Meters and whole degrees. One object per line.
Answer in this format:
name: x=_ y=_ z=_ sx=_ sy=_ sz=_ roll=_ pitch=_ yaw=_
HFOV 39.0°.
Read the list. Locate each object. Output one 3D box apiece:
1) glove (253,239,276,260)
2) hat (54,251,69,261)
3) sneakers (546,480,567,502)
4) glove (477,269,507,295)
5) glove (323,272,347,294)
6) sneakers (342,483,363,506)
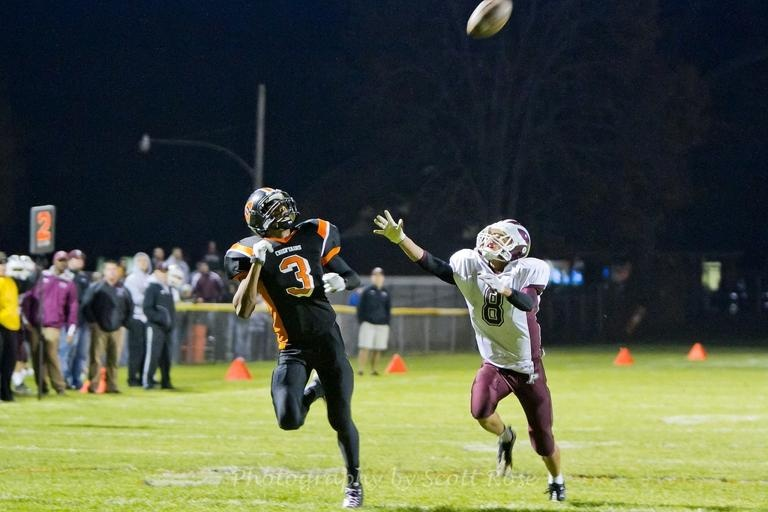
glove: x=-1.647 y=-0.069 z=14.626 sx=0.206 sy=0.290 sz=0.130 roll=4 pitch=-5 yaw=-11
hat: x=-6.306 y=0.008 z=21.121 sx=0.268 sy=0.198 sz=0.333 roll=2 pitch=-6 yaw=-18
sneakers: x=2.428 y=3.284 z=15.141 sx=0.283 sy=0.274 sz=0.248 roll=1 pitch=-6 yaw=-9
glove: x=1.501 y=0.371 z=14.995 sx=0.475 sy=0.345 sz=0.258 roll=-1 pitch=-6 yaw=13
glove: x=-0.684 y=0.381 z=14.802 sx=0.256 sy=0.226 sz=0.287 roll=-8 pitch=9 yaw=-4
sneakers: x=-0.421 y=3.286 z=14.830 sx=0.287 sy=0.340 sz=0.203 roll=1 pitch=-6 yaw=-13
